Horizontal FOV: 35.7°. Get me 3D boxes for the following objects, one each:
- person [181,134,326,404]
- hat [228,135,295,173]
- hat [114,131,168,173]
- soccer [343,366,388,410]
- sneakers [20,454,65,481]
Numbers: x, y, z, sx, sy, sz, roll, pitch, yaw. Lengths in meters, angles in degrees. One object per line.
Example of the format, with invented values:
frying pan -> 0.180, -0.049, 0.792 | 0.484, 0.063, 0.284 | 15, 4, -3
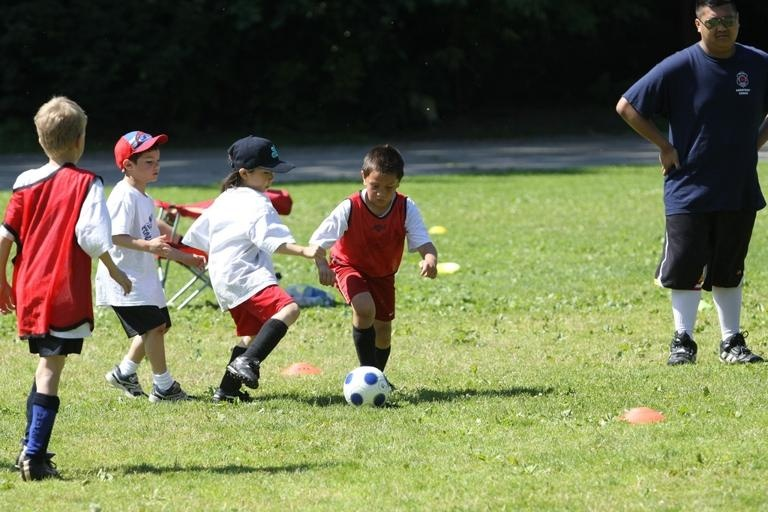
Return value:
person -> -1.055, 0.046, 9.765 | 1.019, 1.998, 0.428 | 5, 6, 29
hat -> -1.013, -0.844, 9.909 | 0.553, 0.262, 0.355 | 3, 15, 9
hat -> -2.045, -0.926, 9.960 | 0.467, 0.229, 0.353 | -31, -2, 31
soccer -> -0.130, 1.060, 9.855 | 0.349, 0.320, 0.319 | -7, 4, -1
sneakers -> -2.550, 1.560, 8.815 | 0.365, 0.225, 0.134 | -3, 5, -17
